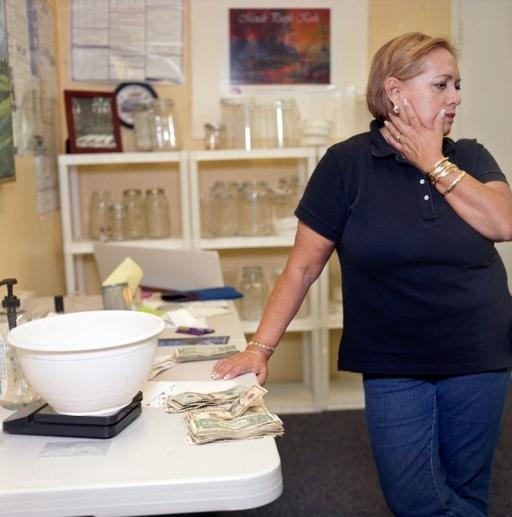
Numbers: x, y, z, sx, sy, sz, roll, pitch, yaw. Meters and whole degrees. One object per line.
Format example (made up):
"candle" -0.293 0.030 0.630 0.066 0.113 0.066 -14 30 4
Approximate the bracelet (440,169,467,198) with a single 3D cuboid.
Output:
"bracelet" 0.479 -0.183 1.423 0.016 0.055 0.056 39 -9 0

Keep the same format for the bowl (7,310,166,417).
"bowl" -0.312 0.182 1.132 0.248 0.104 0.231 -1 8 0

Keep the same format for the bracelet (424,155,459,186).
"bracelet" 0.446 -0.214 1.444 0.057 0.041 0.063 -22 -1 -40

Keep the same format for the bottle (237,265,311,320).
"bottle" 0.071 0.193 3.287 0.423 0.355 0.243 0 1 -4
